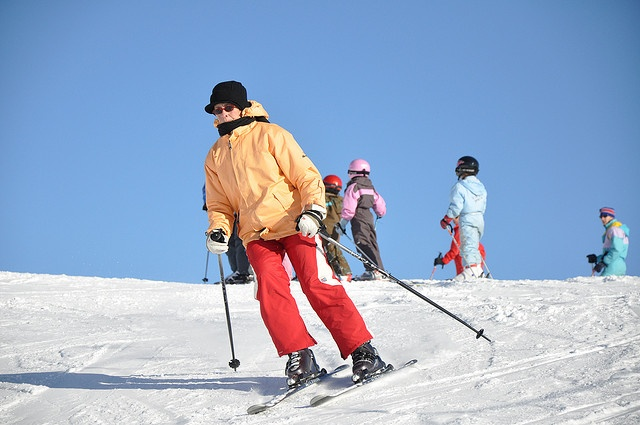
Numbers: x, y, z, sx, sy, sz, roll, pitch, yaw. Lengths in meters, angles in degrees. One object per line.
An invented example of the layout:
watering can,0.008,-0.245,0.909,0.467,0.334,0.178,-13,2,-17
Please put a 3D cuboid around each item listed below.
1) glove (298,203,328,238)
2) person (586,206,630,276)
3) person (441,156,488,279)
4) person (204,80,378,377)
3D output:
glove,-0.063,0.076,5.580,0.131,0.230,0.292,6,-48,-22
person,6.600,0.752,14.101,0.802,1.553,1.238,-2,5,24
person,3.004,0.109,12.984,0.875,2.564,0.919,-2,5,21
person,-0.395,0.201,5.909,1.060,3.037,0.881,-16,4,8
